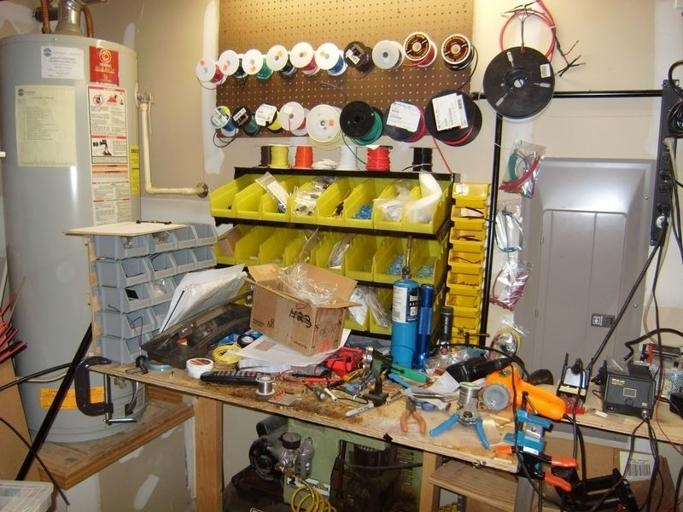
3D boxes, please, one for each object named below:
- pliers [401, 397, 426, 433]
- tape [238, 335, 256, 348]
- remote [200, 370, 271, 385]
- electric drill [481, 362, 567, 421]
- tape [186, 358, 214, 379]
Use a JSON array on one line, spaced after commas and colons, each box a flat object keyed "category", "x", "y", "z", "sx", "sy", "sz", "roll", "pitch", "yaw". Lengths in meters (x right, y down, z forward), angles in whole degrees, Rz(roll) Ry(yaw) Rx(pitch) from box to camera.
[{"category": "pliers", "x": 0.282, "y": 0.625, "z": 2.156, "sx": 0.104, "sy": 0.074, "sz": 0.177, "roll": 2, "pitch": 8, "yaw": 7}, {"category": "tape", "x": -0.462, "y": 0.398, "z": 2.590, "sx": 0.056, "sy": 0.024, "sz": 0.059, "roll": 3, "pitch": 21, "yaw": 1}, {"category": "remote", "x": -0.470, "y": 0.515, "z": 2.327, "sx": 0.220, "sy": 0.041, "sz": 0.111, "roll": 0, "pitch": 1, "yaw": 2}, {"category": "electric drill", "x": 0.766, "y": 0.587, "z": 2.280, "sx": 0.337, "sy": 0.177, "sz": 0.213, "roll": 15, "pitch": 16, "yaw": 39}, {"category": "tape", "x": -0.634, "y": 0.479, "z": 2.398, "sx": 0.083, "sy": 0.045, "sz": 0.088, "roll": 10, "pitch": 12, "yaw": 9}]
